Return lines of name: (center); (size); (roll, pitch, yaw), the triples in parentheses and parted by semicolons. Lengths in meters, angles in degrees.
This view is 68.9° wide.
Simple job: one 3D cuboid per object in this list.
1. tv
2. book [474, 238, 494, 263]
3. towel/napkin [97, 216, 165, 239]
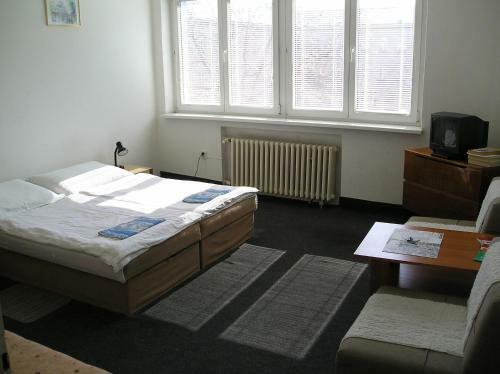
tv: (2.138, -0.572, 3.959); (0.596, 0.579, 0.422); (-12, 17, -24)
book: (1.472, 0.401, 2.289); (0.062, 0.013, 0.173); (17, 31, 33)
towel/napkin: (-0.990, 0.337, 3.105); (0.324, 0.021, 0.519); (10, 22, 34)
